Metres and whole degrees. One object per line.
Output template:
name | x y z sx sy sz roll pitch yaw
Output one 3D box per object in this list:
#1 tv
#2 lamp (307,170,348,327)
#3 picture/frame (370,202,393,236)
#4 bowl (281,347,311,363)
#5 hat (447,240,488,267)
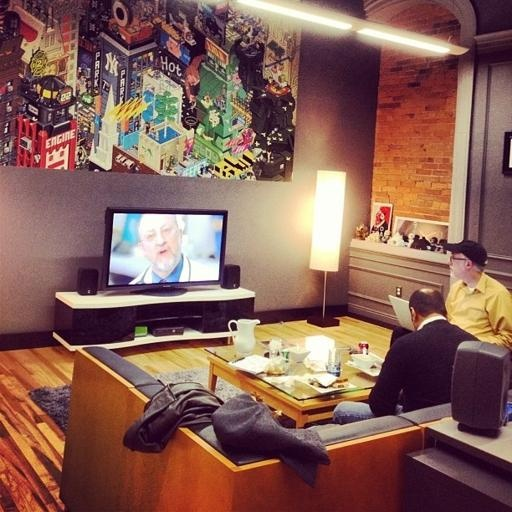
tv | -0.929 -0.052 4.860 1.309 0.905 0.305 -1 6 -29
lamp | 0.915 -0.111 6.077 0.421 1.974 0.726 1 5 6
picture/frame | 1.779 -0.509 6.534 0.062 0.580 0.412 0 9 -34
bowl | 0.250 0.643 3.066 0.108 0.052 0.129 -1 7 -9
hat | 1.543 -0.026 3.405 0.257 0.136 0.177 23 12 11
